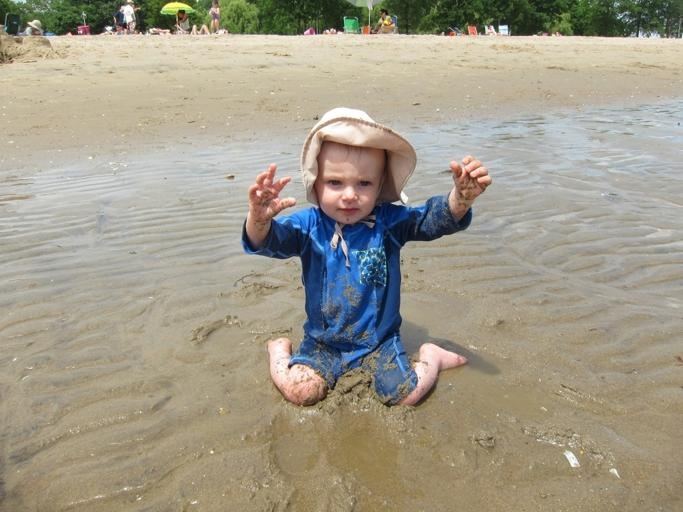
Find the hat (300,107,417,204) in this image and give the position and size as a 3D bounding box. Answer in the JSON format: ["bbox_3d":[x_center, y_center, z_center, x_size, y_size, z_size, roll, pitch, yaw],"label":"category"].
[{"bbox_3d":[0.106,-0.550,3.056,0.459,0.581,0.229,2,43,-1],"label":"hat"}]
